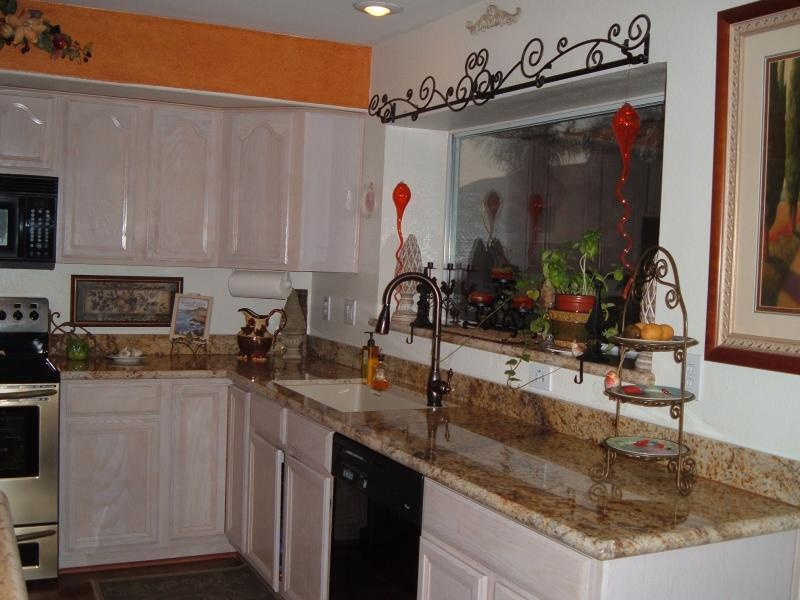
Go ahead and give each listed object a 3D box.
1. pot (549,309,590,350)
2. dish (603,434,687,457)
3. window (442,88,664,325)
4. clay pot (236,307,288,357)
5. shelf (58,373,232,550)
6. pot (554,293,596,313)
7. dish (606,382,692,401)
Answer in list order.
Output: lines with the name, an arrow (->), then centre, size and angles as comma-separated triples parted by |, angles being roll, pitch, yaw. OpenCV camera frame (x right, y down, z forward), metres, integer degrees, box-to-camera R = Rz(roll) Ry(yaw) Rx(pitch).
pot -> 0.642, 0.111, 2.311 | 0.134, 0.106, 0.139 | 1, 1, 0
dish -> 0.736, 0.433, 1.800 | 0.123, 0.018, 0.128 | 0, 5, 6
window -> 0.662, -0.399, 2.842 | 0.010, 0.842, 1.168 | -3, 6, -40
clay pot -> -0.861, 0.204, 3.759 | 0.293, 0.308, 0.219 | 4, 2, 3
shelf -> -1.443, 0.901, 3.553 | 0.871, 1.071, 0.485 | 1, 7, -14
pot -> 0.667, 0.013, 2.312 | 0.189, 0.066, 0.097 | 5, 6, 39
dish -> 0.752, 0.274, 1.811 | 0.283, 0.025, 0.170 | 0, 5, -10
